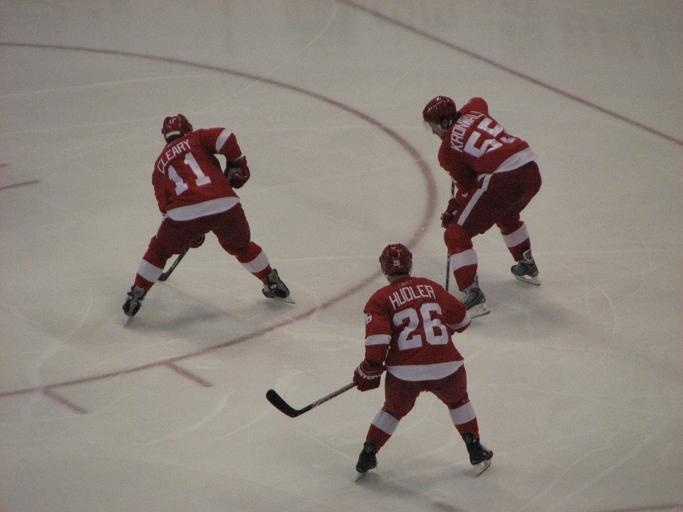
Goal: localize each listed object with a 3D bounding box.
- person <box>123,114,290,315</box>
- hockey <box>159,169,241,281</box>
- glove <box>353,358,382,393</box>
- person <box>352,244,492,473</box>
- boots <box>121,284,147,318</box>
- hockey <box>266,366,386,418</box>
[{"bbox_3d":[-1.058,-0.236,6.284,1.236,1.436,0.378,0,17,-1],"label":"person"},{"bbox_3d":[-1.219,0.048,6.523,0.268,2.347,0.343,41,66,7],"label":"hockey"},{"bbox_3d":[0.162,0.728,5.096,0.179,0.212,0.086,15,48,-22],"label":"glove"},{"bbox_3d":[0.489,0.761,5.154,0.833,1.194,0.414,1,17,0],"label":"person"},{"bbox_3d":[-1.593,0.367,6.317,0.166,0.256,0.084,23,19,-19],"label":"boots"},{"bbox_3d":[-0.140,0.925,5.246,0.498,0.119,0.475,-25,19,-20],"label":"hockey"}]
